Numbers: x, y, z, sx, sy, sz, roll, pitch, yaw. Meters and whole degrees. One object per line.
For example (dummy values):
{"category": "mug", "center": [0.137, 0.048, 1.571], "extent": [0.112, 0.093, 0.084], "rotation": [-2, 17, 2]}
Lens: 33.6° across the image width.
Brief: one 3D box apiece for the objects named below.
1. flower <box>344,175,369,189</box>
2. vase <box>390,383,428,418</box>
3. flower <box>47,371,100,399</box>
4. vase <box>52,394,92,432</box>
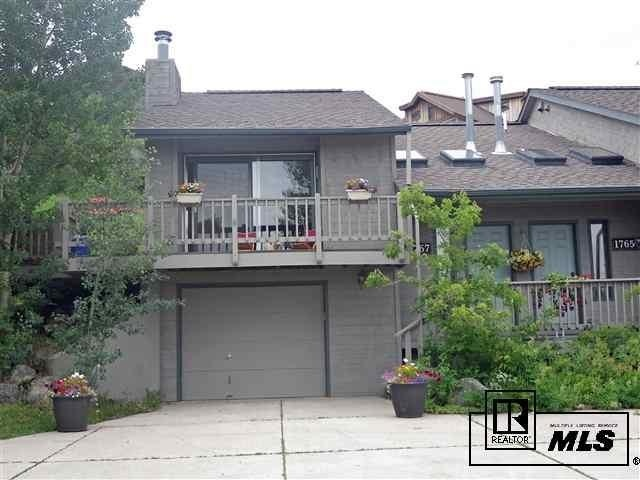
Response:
{"category": "flower", "center": [0.965, -1.500, 27.732], "extent": [0.424, 0.254, 0.530], "rotation": [-1, 1, 3]}
{"category": "vase", "center": [2.061, 3.665, 24.379], "extent": [0.849, 0.603, 0.783], "rotation": [0, -12, -2]}
{"category": "flower", "center": [-5.602, 3.302, 24.074], "extent": [0.911, 0.555, 0.449], "rotation": [0, -5, -11]}
{"category": "vase", "center": [-5.613, 3.962, 24.170], "extent": [0.808, 0.608, 0.804], "rotation": [-1, -14, -2]}
